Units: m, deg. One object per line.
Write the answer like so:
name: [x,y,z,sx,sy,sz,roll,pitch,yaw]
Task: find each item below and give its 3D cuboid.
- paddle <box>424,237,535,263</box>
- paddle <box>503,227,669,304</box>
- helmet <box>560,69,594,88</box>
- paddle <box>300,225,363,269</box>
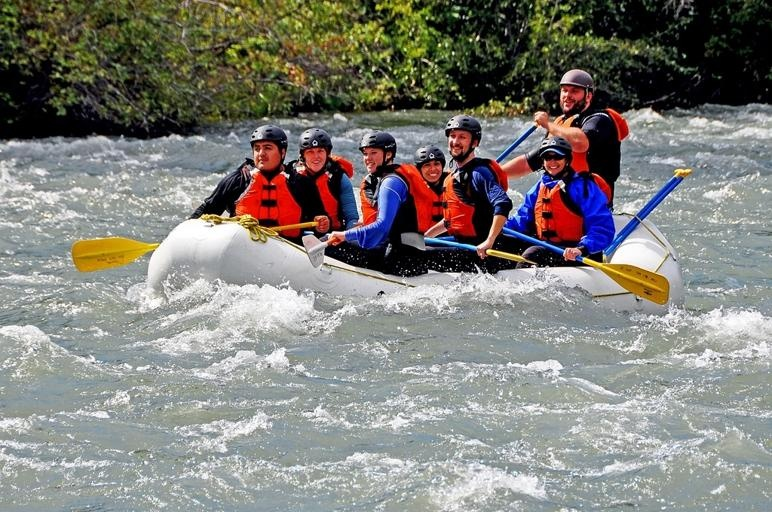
paddle: [1.170,-0.075,14.527,1.153,0.076,0.086,13,-7,6]
paddle: [2.562,0.159,14.408,2.549,0.307,0.100,20,7,1]
helmet: [2.619,-2.412,15.189,0.382,0.172,0.275,23,-16,-18]
paddle: [-0.786,-0.083,14.133,0.361,0.471,0.498,15,18,42]
